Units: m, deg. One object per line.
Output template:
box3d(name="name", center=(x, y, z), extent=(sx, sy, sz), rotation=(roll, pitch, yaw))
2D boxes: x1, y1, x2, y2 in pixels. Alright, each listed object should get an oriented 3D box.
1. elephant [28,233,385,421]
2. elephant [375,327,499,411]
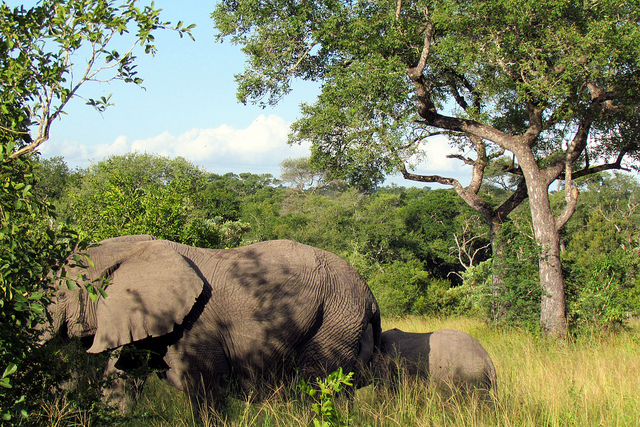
box3d(name="elephant", center=(-1.902, 2.093, 10.669), extent=(6.379, 3.705, 2.881), rotation=(3, -12, -4))
box3d(name="elephant", center=(2.133, 2.739, 11.069), extent=(2.207, 1.366, 1.068), rotation=(0, -2, 34))
